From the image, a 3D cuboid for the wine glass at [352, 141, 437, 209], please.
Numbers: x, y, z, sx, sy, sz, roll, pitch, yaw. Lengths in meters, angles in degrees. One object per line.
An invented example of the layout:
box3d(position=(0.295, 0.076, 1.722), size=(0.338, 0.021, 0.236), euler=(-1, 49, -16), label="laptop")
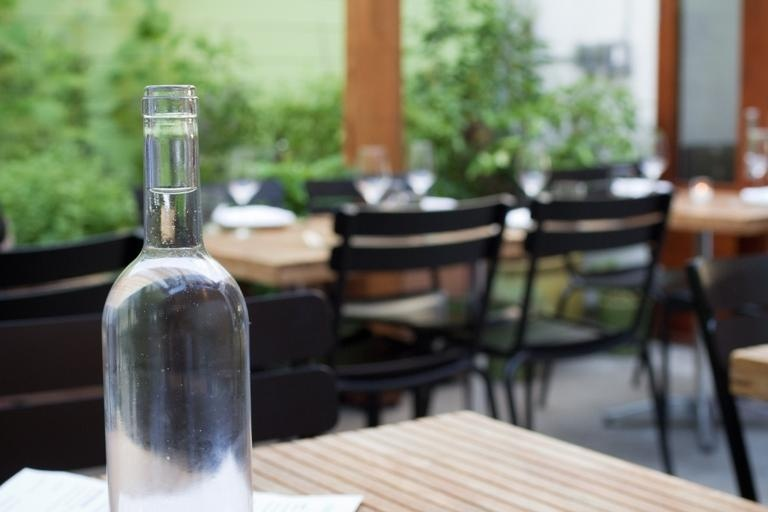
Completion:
box3d(position=(0.024, -0.211, 1.960), size=(0.248, 0.164, 0.126), euler=(-3, 1, -42), label="wine glass")
